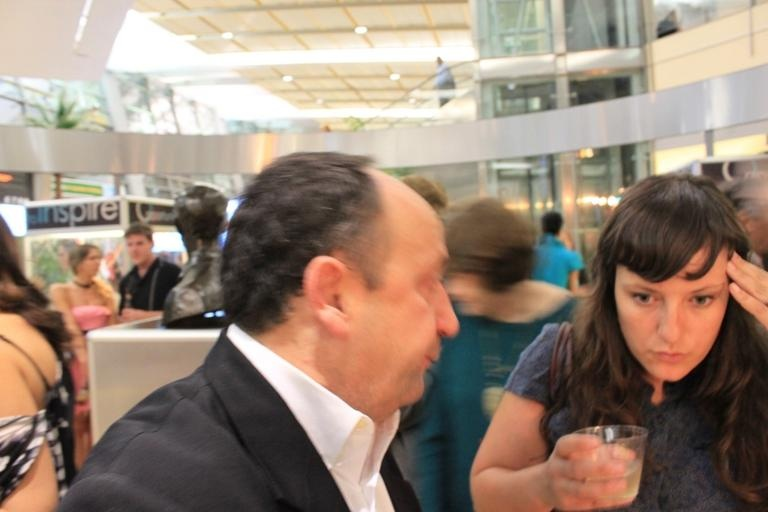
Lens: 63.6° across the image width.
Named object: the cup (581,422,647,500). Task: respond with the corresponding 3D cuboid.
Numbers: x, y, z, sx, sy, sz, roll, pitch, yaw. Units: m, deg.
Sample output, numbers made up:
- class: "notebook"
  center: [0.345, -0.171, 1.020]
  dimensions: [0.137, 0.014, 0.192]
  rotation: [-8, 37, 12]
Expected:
- class: "cup"
  center: [0.691, 0.581, 1.778]
  dimensions: [0.214, 0.209, 0.216]
  rotation: [-2, -11, 0]
